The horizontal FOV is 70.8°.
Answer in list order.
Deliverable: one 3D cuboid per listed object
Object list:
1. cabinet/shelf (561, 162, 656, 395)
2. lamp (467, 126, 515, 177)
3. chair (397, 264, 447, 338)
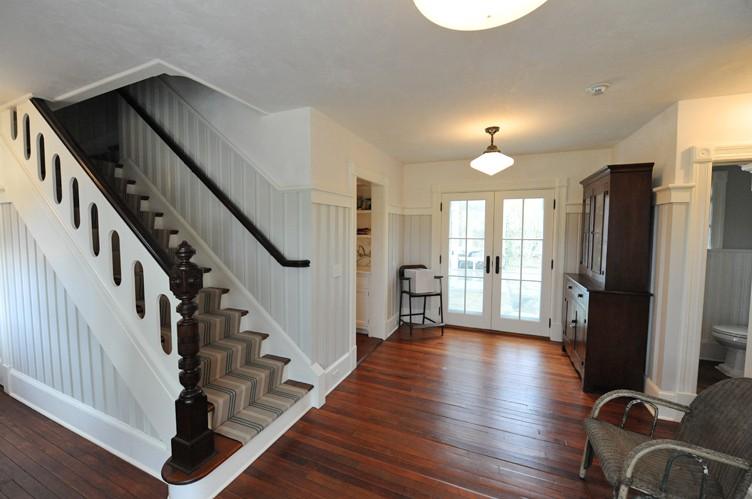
[{"bbox_3d":[2.528,0.375,5.669,0.722,2.770,2.633,1,1,19],"label":"cabinet/shelf"},{"bbox_3d":[1.279,-1.151,5.810,0.364,0.370,0.382,3,7,27],"label":"lamp"},{"bbox_3d":[0.623,0.681,7.301,0.725,0.895,0.682,4,5,30],"label":"chair"}]
